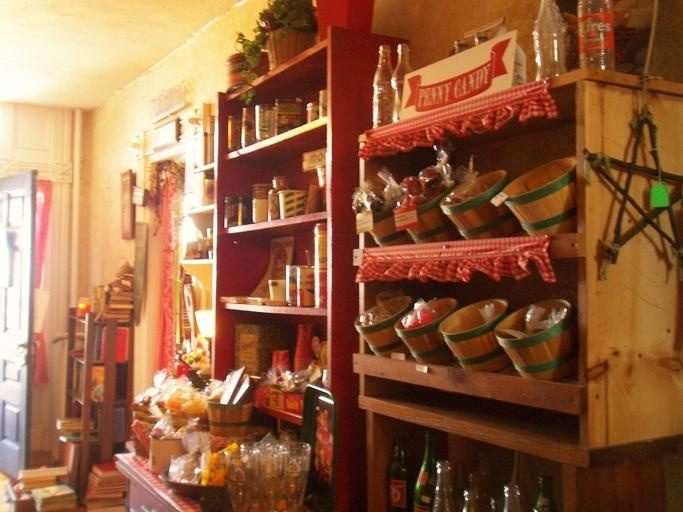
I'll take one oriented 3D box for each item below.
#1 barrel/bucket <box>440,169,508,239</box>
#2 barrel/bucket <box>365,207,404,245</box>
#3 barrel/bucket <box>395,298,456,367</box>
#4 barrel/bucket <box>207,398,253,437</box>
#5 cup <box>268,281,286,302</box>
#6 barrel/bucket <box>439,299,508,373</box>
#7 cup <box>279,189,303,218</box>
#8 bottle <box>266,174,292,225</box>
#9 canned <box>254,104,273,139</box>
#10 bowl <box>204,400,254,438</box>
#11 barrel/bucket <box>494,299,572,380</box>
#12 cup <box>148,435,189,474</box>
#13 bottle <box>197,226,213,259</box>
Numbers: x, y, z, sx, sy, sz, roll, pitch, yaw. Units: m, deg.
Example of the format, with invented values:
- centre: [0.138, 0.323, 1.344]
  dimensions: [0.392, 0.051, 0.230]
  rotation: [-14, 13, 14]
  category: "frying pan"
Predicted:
- centre: [0.421, -0.164, 2.027]
  dimensions: [0.209, 0.159, 0.219]
  rotation: [-32, 12, 7]
  category: "barrel/bucket"
- centre: [0.160, -0.121, 2.273]
  dimensions: [0.121, 0.114, 0.125]
  rotation: [-14, 21, 5]
  category: "barrel/bucket"
- centre: [0.292, 0.246, 2.133]
  dimensions: [0.208, 0.151, 0.214]
  rotation: [-16, 0, 0]
  category: "barrel/bucket"
- centre: [-0.489, 0.708, 2.784]
  dimensions: [0.174, 0.095, 0.162]
  rotation: [4, -4, 0]
  category: "barrel/bucket"
- centre: [-0.292, 0.161, 2.871]
  dimensions: [0.093, 0.110, 0.062]
  rotation: [-5, -12, 16]
  category: "cup"
- centre: [0.425, 0.240, 2.011]
  dimensions: [0.210, 0.139, 0.224]
  rotation: [-21, 1, 1]
  category: "barrel/bucket"
- centre: [-0.223, -0.237, 2.828]
  dimensions: [0.121, 0.090, 0.125]
  rotation: [0, 0, 0]
  category: "cup"
- centre: [-0.269, -0.270, 2.966]
  dimensions: [0.165, 0.197, 0.156]
  rotation: [1, 5, 0]
  category: "bottle"
- centre: [-0.338, -0.632, 2.995]
  dimensions: [0.116, 0.168, 0.109]
  rotation: [3, 13, 3]
  category: "canned"
- centre: [-0.487, 0.714, 2.740]
  dimensions: [0.175, 0.095, 0.160]
  rotation: [5, -4, 0]
  category: "bowl"
- centre: [0.553, 0.235, 1.798]
  dimensions: [0.215, 0.232, 0.142]
  rotation: [-2, -12, -2]
  category: "barrel/bucket"
- centre: [-0.798, 0.878, 2.868]
  dimensions: [0.171, 0.160, 0.168]
  rotation: [1, -3, 0]
  category: "cup"
- centre: [-0.784, -0.092, 3.651]
  dimensions: [0.070, 0.216, 0.288]
  rotation: [1, -12, -15]
  category: "bottle"
